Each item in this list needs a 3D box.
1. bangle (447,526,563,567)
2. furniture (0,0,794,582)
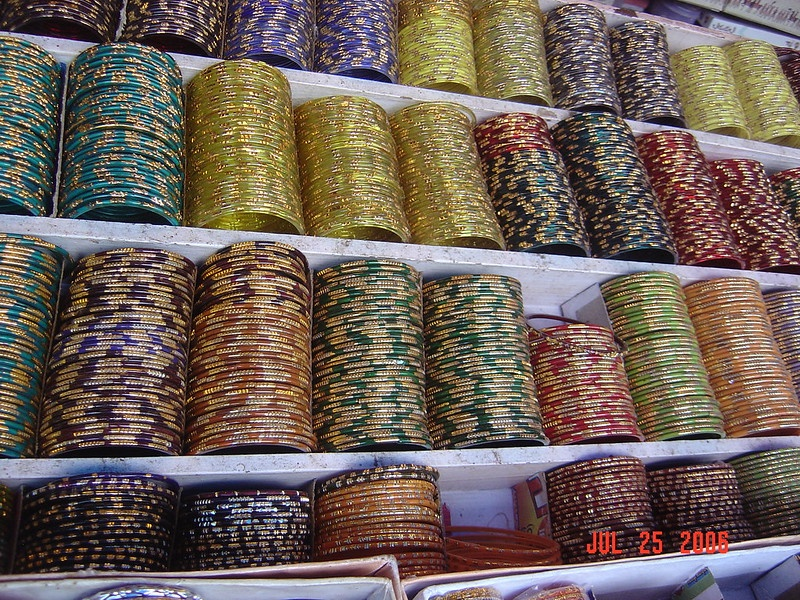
[{"bbox_3d":[0.512,1.266,4.489,0.333,0.077,0.306,-1,-9,33],"label":"bangle"},{"bbox_3d":[0.225,-0.218,4.842,4.451,2.186,1.740,-2,19,-17],"label":"furniture"}]
